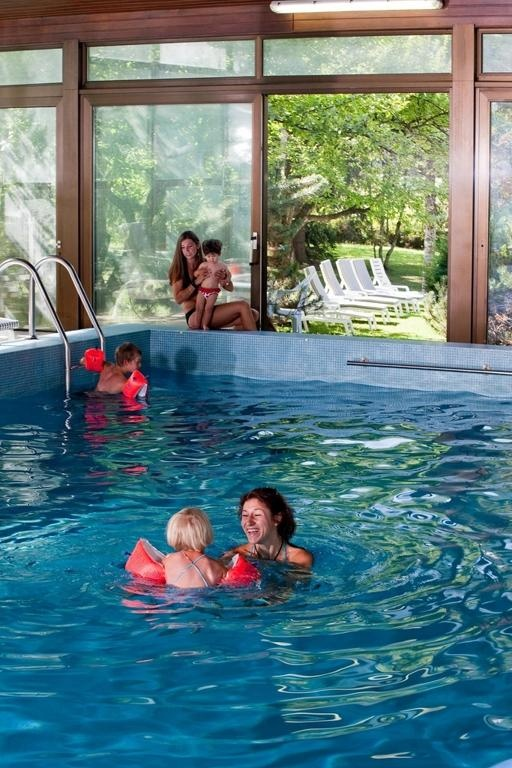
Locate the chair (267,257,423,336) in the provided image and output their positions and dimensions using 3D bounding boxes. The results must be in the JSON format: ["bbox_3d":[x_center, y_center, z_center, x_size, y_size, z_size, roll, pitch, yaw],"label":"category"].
[{"bbox_3d":[1.165,-1.308,10.300,2.129,1.153,1.035,-2,7,-22],"label":"chair"}]

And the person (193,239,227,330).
[{"bbox_3d":[-0.541,-1.172,8.342,0.364,1.035,0.419,0,7,-10],"label":"person"}]

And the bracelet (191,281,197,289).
[{"bbox_3d":[-0.748,-1.177,8.407,0.067,0.044,0.063,-1,18,5],"label":"bracelet"}]
